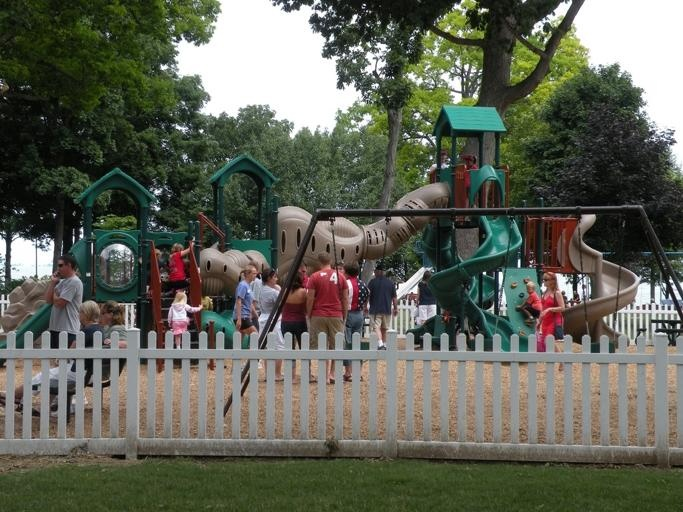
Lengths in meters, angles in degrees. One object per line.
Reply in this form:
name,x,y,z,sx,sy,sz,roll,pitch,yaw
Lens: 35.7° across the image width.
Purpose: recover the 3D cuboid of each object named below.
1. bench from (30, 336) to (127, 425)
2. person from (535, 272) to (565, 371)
bench,-4.279,1.984,17.734,1.409,2.088,1.408,1,-5,5
person,4.200,1.310,21.616,0.621,1.921,0.549,3,6,45
